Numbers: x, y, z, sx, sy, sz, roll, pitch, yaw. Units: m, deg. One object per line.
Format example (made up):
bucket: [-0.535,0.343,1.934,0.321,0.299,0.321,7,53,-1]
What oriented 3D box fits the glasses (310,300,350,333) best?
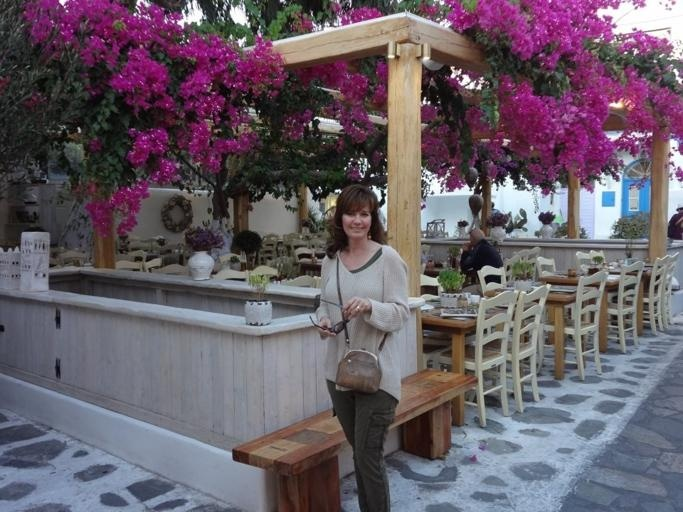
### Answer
glasses: [-0.080,0.362,2.776,0.184,0.186,0.057,32,-26,14]

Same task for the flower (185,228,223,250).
flower: [-1.374,-0.161,5.330,0.265,0.207,0.260,-2,2,-45]

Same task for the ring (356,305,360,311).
ring: [0.079,0.261,2.576,0.025,0.029,0.008,2,-2,-7]

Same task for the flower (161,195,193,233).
flower: [-4.660,-1.185,14.971,0.381,1.128,0.998,3,7,29]

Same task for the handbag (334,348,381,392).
handbag: [0.089,0.580,2.621,0.182,0.184,0.080,1,-15,16]
